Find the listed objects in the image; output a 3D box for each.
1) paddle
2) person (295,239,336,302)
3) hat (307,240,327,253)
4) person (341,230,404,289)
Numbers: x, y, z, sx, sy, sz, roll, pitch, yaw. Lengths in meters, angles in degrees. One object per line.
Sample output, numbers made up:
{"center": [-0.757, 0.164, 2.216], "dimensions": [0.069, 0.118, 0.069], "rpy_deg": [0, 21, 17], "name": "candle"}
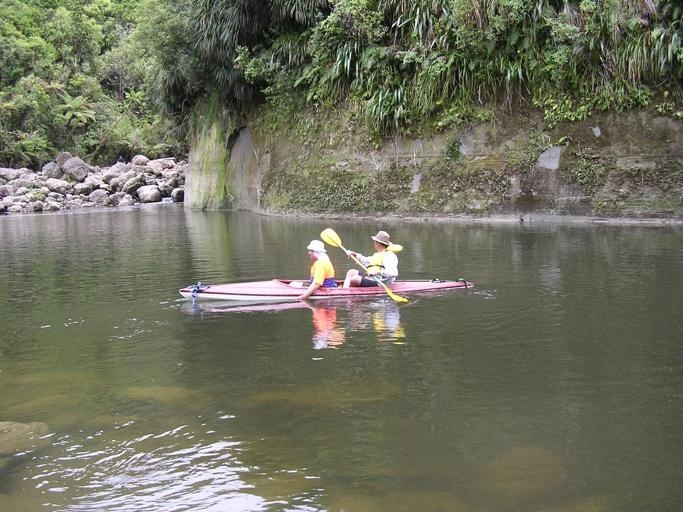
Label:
{"center": [0.377, 0.175, 13.937], "dimensions": [0.347, 0.100, 2.400], "rpy_deg": [-31, 49, -27], "name": "paddle"}
{"center": [-0.406, 0.188, 12.707], "dimensions": [0.585, 0.900, 0.874], "rpy_deg": [-5, 6, 0], "name": "person"}
{"center": [-0.400, -0.163, 12.599], "dimensions": [0.293, 0.131, 0.216], "rpy_deg": [14, -3, -1], "name": "hat"}
{"center": [0.438, 0.223, 12.970], "dimensions": [1.017, 1.277, 0.669], "rpy_deg": [8, 7, 19], "name": "person"}
